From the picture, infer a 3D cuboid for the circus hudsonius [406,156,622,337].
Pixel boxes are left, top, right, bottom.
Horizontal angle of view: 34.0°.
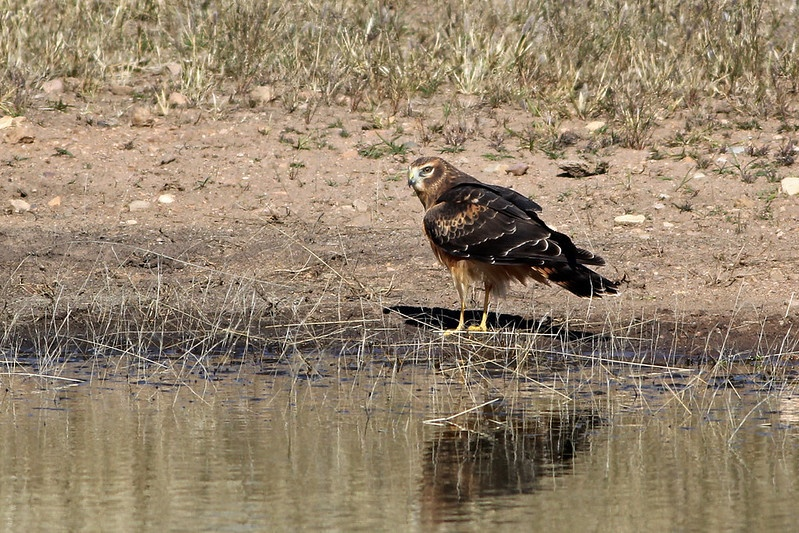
[{"bbox_3d":[1.123,-0.227,13.412,1.023,1.729,2.653,2,1,-44],"label":"circus hudsonius"}]
